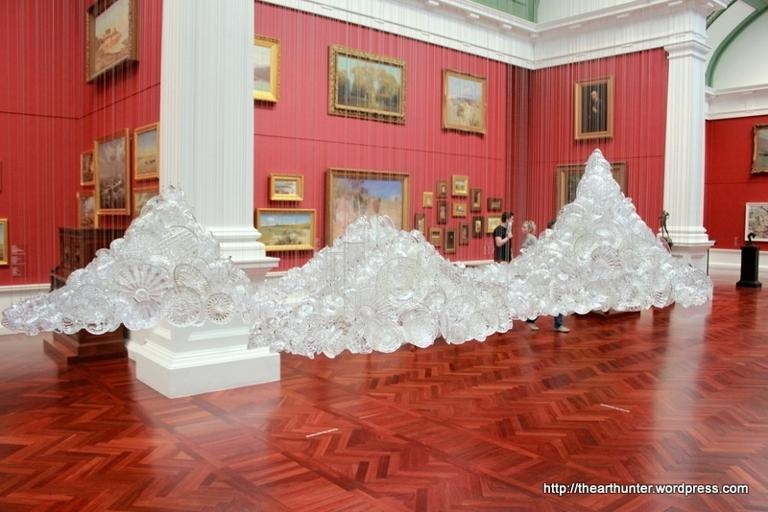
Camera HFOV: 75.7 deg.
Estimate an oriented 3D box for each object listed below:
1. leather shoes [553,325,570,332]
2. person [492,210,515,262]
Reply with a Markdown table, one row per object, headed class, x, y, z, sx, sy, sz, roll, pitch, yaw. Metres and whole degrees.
| class | x | y | z | sx | sy | sz | roll | pitch | yaw |
| --- | --- | --- | --- | --- | --- | --- | --- | --- | --- |
| leather shoes | 3.002 | 1.235 | 8.319 | 0.163 | 0.077 | 0.098 | -6 | 1 | 26 |
| person | 1.784 | -0.266 | 7.379 | 0.322 | 1.247 | 0.433 | 2 | 33 | 13 |
